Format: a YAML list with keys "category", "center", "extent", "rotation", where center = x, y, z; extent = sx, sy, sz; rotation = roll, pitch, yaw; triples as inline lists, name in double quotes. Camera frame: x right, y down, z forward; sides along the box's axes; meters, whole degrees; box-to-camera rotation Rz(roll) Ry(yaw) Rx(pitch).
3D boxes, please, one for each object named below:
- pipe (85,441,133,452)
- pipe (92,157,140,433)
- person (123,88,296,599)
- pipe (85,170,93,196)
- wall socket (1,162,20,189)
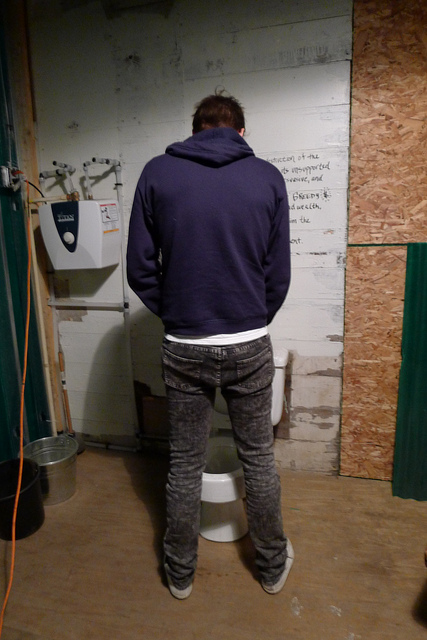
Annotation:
- category: "pipe"
  center: [-0.561, 0.689, 2.694]
  extent: [0.202, 0.027, 0.023]
  rotation: [11, -11, 17]
- category: "pipe"
  center: [-0.457, -0.094, 2.492]
  extent: [0.135, 1.329, 0.223]
  rotation: [4, 15, 10]
- category: "person"
  center: [0.012, 0.169, 1.646]
  extent: [0.541, 1.548, 0.297]
  rotation: [-5, 14, -7]
- category: "pipe"
  center: [-0.601, -0.660, 2.372]
  extent: [0.024, 0.117, 0.139]
  rotation: [-6, 14, -12]
- category: "wall socket"
  center: [-0.933, -0.674, 2.288]
  extent: [0.063, 0.123, 0.128]
  rotation: [-5, 14, -8]
